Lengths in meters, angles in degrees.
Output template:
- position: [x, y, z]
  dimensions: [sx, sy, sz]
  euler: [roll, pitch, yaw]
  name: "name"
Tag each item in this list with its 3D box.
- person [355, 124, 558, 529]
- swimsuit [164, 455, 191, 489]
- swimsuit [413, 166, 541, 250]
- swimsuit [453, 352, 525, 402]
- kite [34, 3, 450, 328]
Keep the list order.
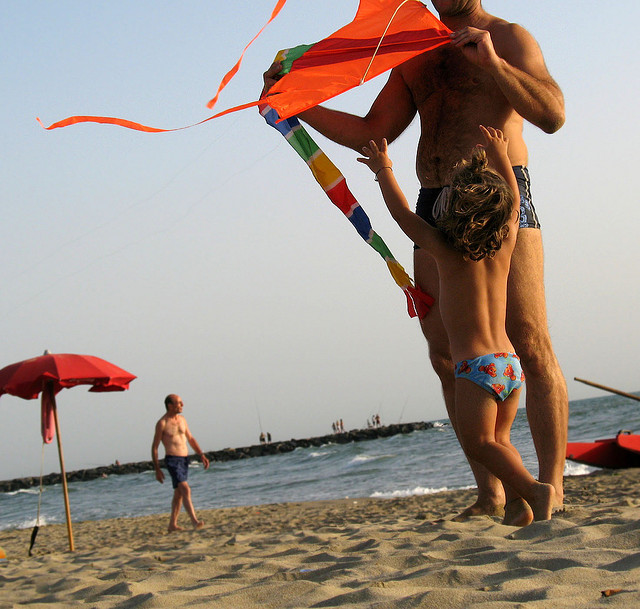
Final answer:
- position: [0.638, 0.065, 3.591]
  dimensions: [0.589, 1.767, 0.292]
  euler: [-8, -5, 13]
  name: "person"
- position: [-1.495, 1.755, 8.711]
  dimensions: [0.235, 0.367, 0.319]
  euler: [-6, -5, -12]
  name: "swimsuit"
- position: [0.787, -0.536, 3.966]
  dimensions: [0.577, 0.418, 0.325]
  euler: [13, -15, -17]
  name: "swimsuit"
- position: [0.752, 0.313, 3.592]
  dimensions: [0.301, 0.205, 0.223]
  euler: [-1, 1, -16]
  name: "swimsuit"
- position: [-0.038, -0.858, 4.198]
  dimensions: [1.756, 1.852, 0.549]
  euler: [28, -12, 18]
  name: "kite"
